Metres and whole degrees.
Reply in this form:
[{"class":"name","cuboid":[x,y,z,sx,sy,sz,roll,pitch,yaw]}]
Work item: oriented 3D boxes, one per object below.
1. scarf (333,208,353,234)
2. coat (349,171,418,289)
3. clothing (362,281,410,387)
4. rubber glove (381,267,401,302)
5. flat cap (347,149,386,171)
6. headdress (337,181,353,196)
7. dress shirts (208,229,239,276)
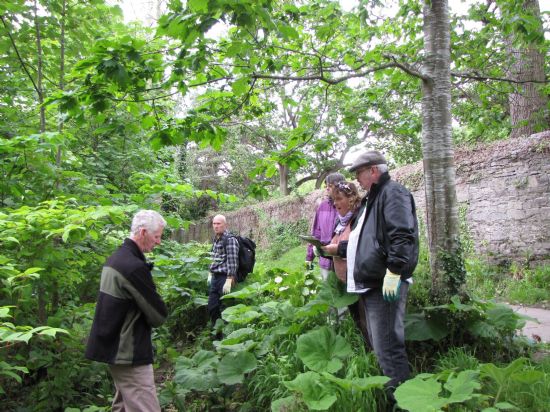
[{"class":"scarf","cuboid":[0.921,0.210,5.332,0.146,0.303,0.249,21,-6,-33]},{"class":"coat","cuboid":[1.245,0.314,4.541,0.764,1.338,1.370,7,-13,-5]},{"class":"clothing","cuboid":[1.262,1.424,4.420,0.510,1.129,0.272,-2,-10,17]},{"class":"rubber glove","cuboid":[1.282,0.868,4.302,0.177,0.345,0.158,-2,-9,14]},{"class":"flat cap","cuboid":[1.132,-0.567,4.874,0.596,0.284,0.442,4,1,8]},{"class":"headdress","cuboid":[0.960,-0.244,5.333,0.098,0.154,0.198,-14,-21,-12]},{"class":"dress shirts","cuboid":[-0.892,0.831,6.736,0.406,0.766,0.813,7,-7,-20]}]
